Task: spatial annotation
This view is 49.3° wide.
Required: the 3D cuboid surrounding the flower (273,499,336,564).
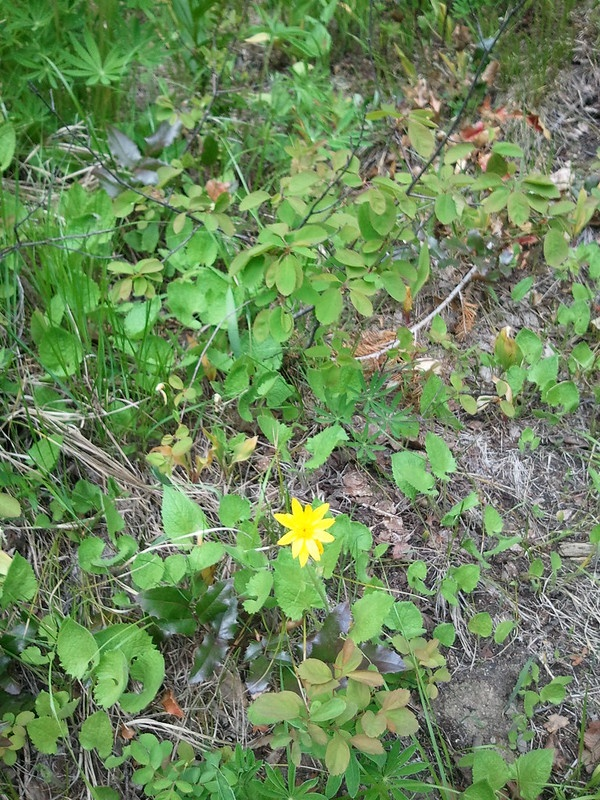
[{"bbox_3d":[0.008,0.215,1.170,0.112,0.026,0.109,-20,25,-29],"label":"flower"}]
